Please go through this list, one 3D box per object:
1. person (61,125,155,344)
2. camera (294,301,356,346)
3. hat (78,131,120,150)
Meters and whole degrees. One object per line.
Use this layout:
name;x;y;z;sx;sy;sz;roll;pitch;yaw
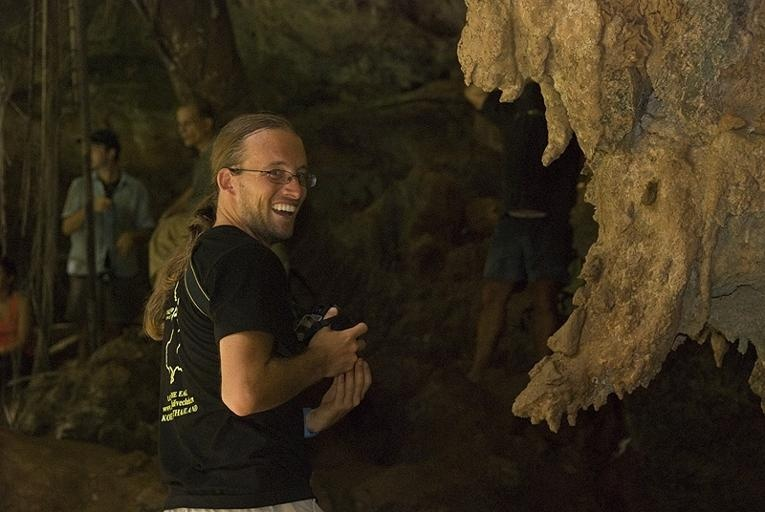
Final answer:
person;-1.513;-0.146;5.903;0.487;1.052;0.158;8;8;13
camera;-0.235;0.275;4.358;0.195;0.085;0.142;-19;32;3
hat;-1.538;-0.633;5.878;0.151;0.087;0.124;4;6;3
